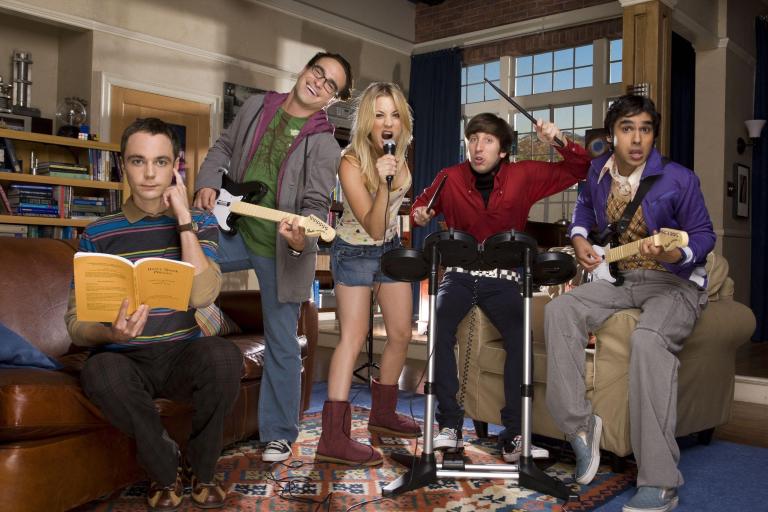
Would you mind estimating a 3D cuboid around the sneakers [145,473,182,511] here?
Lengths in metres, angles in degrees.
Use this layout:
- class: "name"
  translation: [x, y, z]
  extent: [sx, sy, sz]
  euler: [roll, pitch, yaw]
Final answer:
- class: "sneakers"
  translation: [-0.928, 0.992, 2.469]
  extent: [0.139, 0.126, 0.114]
  euler: [-1, 6, -18]

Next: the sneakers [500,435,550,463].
- class: "sneakers"
  translation: [0.705, 1.000, 3.076]
  extent: [0.284, 0.135, 0.150]
  euler: [-9, -10, 37]

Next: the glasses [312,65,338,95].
- class: "glasses"
  translation: [-0.298, -0.898, 2.984]
  extent: [0.148, 0.140, 0.061]
  euler: [-3, 7, -31]

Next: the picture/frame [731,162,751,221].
- class: "picture/frame"
  translation: [4.026, -0.734, 6.597]
  extent: [0.126, 0.934, 0.684]
  euler: [-1, -1, 37]

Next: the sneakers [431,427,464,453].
- class: "sneakers"
  translation: [0.325, 0.954, 3.003]
  extent: [0.097, 0.097, 0.216]
  euler: [-4, -18, 16]

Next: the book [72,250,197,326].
- class: "book"
  translation: [-0.954, 0.120, 2.245]
  extent: [0.415, 0.252, 0.046]
  euler: [-1, 6, -15]

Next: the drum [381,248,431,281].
- class: "drum"
  translation: [0.103, 0.049, 2.826]
  extent: [0.235, 0.202, 0.333]
  euler: [1, 6, 1]

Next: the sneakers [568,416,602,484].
- class: "sneakers"
  translation: [0.989, 0.952, 2.915]
  extent: [0.137, 0.324, 0.113]
  euler: [16, -14, -16]

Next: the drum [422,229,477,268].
- class: "drum"
  translation: [0.331, -0.027, 2.722]
  extent: [0.220, 0.196, 0.297]
  euler: [4, 7, 31]

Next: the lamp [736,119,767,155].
- class: "lamp"
  translation: [4.195, -1.351, 6.660]
  extent: [0.260, 0.405, 0.398]
  euler: [5, 7, 36]

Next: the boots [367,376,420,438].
- class: "boots"
  translation: [0.130, 0.897, 3.403]
  extent: [0.398, 0.352, 0.194]
  euler: [1, -1, 14]

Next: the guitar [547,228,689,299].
- class: "guitar"
  translation: [1.248, 0.015, 3.090]
  extent: [0.325, 0.367, 0.959]
  euler: [0, 6, -2]

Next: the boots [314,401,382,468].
- class: "boots"
  translation: [-0.170, 0.914, 3.012]
  extent: [0.348, 0.288, 0.168]
  euler: [2, -10, 11]

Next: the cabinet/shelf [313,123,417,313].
- class: "cabinet/shelf"
  translation: [-0.513, -0.460, 6.683]
  extent: [1.096, 2.194, 0.440]
  euler: [3, -5, 21]

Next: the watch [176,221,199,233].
- class: "watch"
  translation: [-0.852, -0.115, 2.536]
  extent: [0.057, 0.038, 0.060]
  euler: [-2, -3, 0]

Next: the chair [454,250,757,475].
- class: "chair"
  translation: [1.283, 0.636, 3.327]
  extent: [1.240, 1.032, 1.259]
  euler: [10, -13, -39]

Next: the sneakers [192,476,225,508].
- class: "sneakers"
  translation: [-0.761, 1.025, 2.541]
  extent: [0.082, 0.078, 0.181]
  euler: [6, -9, -33]
